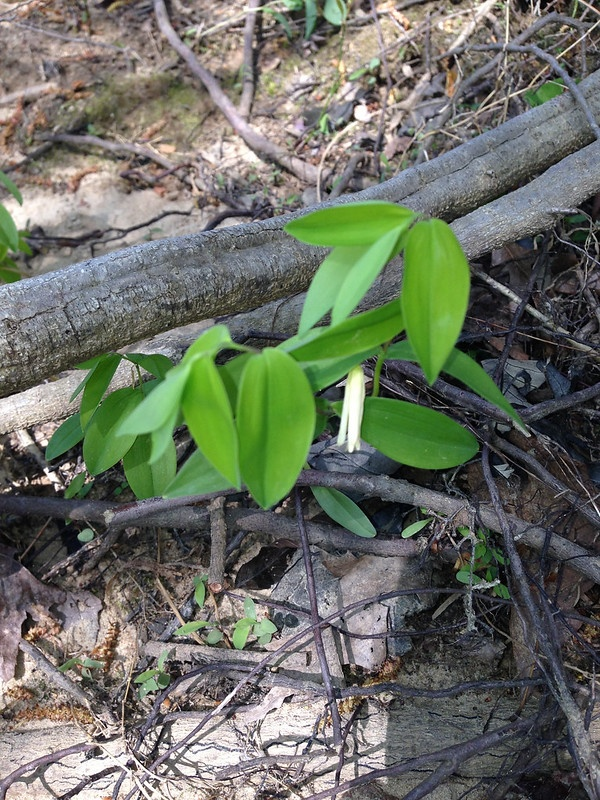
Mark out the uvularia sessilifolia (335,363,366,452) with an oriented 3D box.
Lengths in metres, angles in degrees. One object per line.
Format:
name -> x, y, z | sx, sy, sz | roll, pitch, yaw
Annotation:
uvularia sessilifolia -> 0.104, 0.012, 1.602 | 0.055, 0.164, 0.055 | 8, 4, 11
